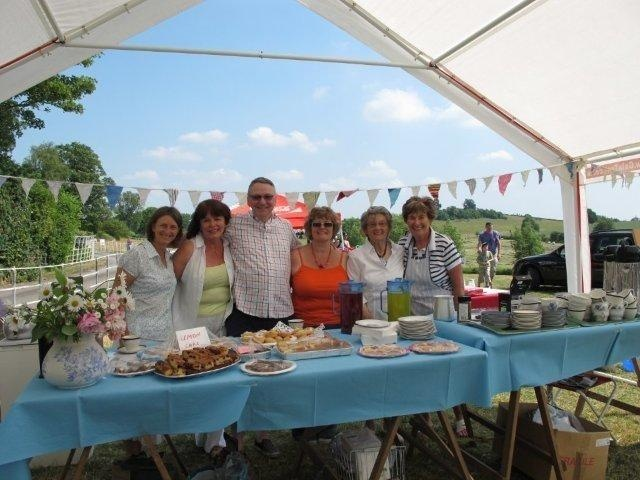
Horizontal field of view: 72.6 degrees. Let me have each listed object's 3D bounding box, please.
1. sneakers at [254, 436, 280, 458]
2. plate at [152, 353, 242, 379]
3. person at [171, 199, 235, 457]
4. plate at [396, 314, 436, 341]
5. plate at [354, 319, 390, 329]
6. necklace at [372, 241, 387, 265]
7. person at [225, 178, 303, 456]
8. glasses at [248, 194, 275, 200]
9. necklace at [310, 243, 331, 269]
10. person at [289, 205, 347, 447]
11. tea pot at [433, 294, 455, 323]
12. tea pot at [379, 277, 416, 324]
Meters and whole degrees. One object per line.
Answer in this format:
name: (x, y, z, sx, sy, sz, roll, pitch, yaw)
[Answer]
sneakers: (-0.435, 1.734, 3.641, 0.095, 0.087, 0.232, 3, -5, -32)
plate: (-0.713, 0.717, 2.499, 0.232, 0.081, 0.263, -1, 3, -35)
person: (-0.833, 0.628, 3.705, 0.661, 1.784, 0.759, 0, -1, -14)
plate: (0.665, 0.589, 3.030, 0.185, 0.084, 0.187, -1, -1, -2)
plate: (0.365, 0.578, 2.978, 0.175, 0.028, 0.245, -4, 4, -40)
necklace: (0.537, 0.107, 3.782, 0.108, 0.148, 0.036, -6, -25, -6)
person: (-0.539, 0.575, 3.817, 0.639, 2.163, 0.650, 2, 6, -12)
glasses: (-0.479, -0.352, 3.588, 0.200, 0.041, 0.082, -2, 3, -8)
necklace: (0.009, 0.131, 3.715, 0.140, 0.242, 0.226, 1, 14, -7)
person: (-0.020, 0.612, 3.761, 0.632, 1.663, 0.642, 0, -1, -13)
tea pot: (0.937, 0.522, 3.301, 0.182, 0.182, 0.182, 2, -2, 0)
tea pot: (0.584, 0.463, 3.306, 0.236, 0.304, 0.177, -1, -8, -7)
